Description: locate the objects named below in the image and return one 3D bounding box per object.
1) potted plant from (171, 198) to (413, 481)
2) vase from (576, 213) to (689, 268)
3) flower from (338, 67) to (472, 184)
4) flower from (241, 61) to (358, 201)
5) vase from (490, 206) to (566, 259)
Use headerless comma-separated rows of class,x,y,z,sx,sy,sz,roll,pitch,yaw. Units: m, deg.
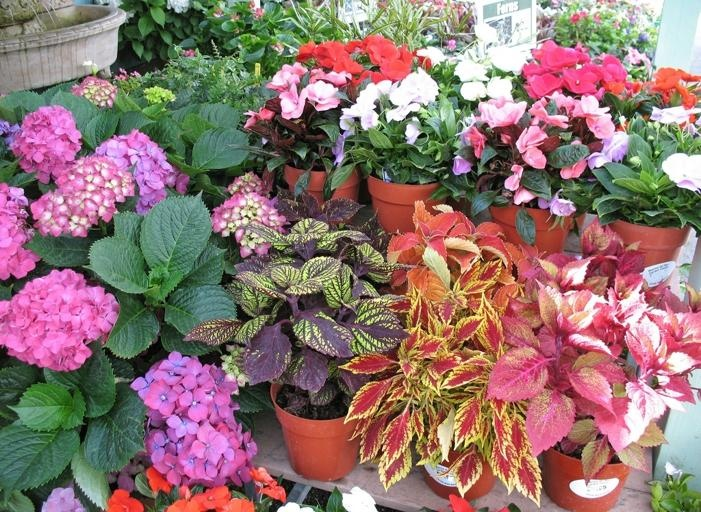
potted plant,-0.114,0.272,2.173,0.782,0.914,0.895,-1,4,-1
vase,1.077,-0.066,2.091,0.258,0.198,0.256,-13,22,-30
flower,0.214,-0.489,2.289,0.465,0.494,0.243,12,-12,5
flower,-0.210,-0.519,2.420,0.562,0.495,0.562,-4,46,-23
vase,0.715,-0.102,2.179,0.212,0.165,0.217,-2,23,-1
